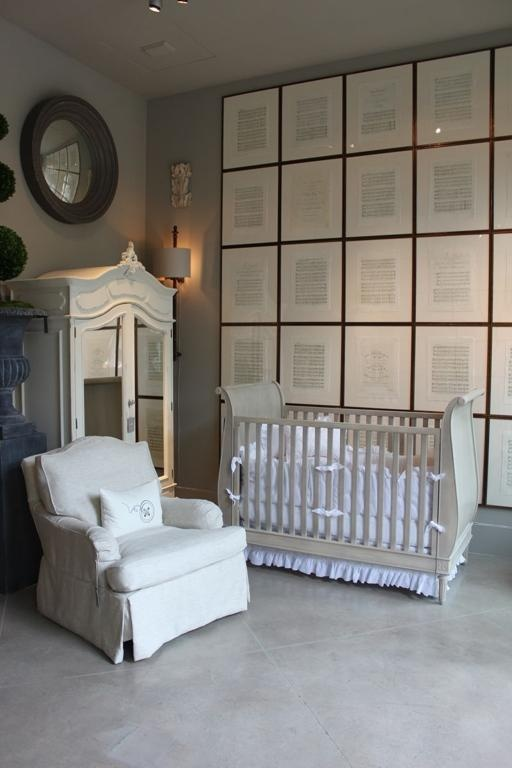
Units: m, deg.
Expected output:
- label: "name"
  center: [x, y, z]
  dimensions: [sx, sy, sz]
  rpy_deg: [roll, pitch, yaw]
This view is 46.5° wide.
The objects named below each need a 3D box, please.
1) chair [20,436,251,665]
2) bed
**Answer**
- label: "chair"
  center: [-0.489, 0.538, 2.543]
  dimensions: [0.766, 0.826, 0.706]
  rpy_deg: [0, 1, 38]
- label: "bed"
  center: [0.450, 0.437, 3.123]
  dimensions: [1.125, 0.946, 0.737]
  rpy_deg: [2, 6, 20]
